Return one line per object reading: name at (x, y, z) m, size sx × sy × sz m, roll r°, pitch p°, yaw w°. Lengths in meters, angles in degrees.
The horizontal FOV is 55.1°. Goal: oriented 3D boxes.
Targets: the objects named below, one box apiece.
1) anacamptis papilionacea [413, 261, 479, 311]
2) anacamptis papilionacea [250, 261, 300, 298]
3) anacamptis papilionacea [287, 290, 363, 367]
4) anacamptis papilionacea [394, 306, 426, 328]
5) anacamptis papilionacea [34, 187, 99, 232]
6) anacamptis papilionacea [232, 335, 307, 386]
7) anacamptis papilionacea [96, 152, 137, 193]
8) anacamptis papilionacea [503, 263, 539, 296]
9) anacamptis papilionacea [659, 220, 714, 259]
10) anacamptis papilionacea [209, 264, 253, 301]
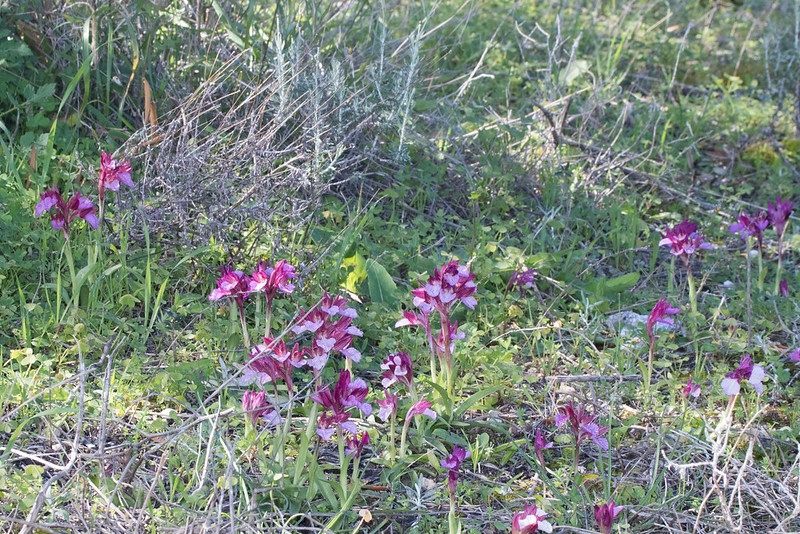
anacamptis papilionacea at (0.226, 0.100, 3.687) m, size 0.240 × 0.186 × 0.259 m, roll -5°, pitch 18°, yaw 8°
anacamptis papilionacea at (-0.599, 0.062, 3.763) m, size 0.189 × 0.151 × 0.197 m, roll 7°, pitch 9°, yaw 33°
anacamptis papilionacea at (-0.341, 0.341, 3.636) m, size 0.314 × 0.208 × 0.355 m, roll 14°, pitch 55°, yaw 5°
anacamptis papilionacea at (0.068, 0.257, 3.775) m, size 0.109 × 0.109 × 0.059 m, roll -9°, pitch 79°, yaw -44°
anacamptis papilionacea at (-1.776, -0.270, 4.027) m, size 0.271 × 0.270 × 0.220 m, roll 12°, pitch 68°, yaw -45°
anacamptis papilionacea at (-0.583, 0.411, 3.533) m, size 0.237 × 0.256 × 0.258 m, roll -6°, pitch 15°, yaw -5°
anacamptis papilionacea at (-1.508, -0.500, 4.088) m, size 0.182 × 0.164 × 0.207 m, roll 0°, pitch 10°, yaw -6°
anacamptis papilionacea at (0.731, 0.077, 4.535) m, size 0.155 × 0.156 × 0.163 m, roll -11°, pitch 20°, yaw -17°
anacamptis papilionacea at (1.596, -0.170, 4.267) m, size 0.253 × 0.197 × 0.281 m, roll 3°, pitch 4°, yaw -8°
anacamptis papilionacea at (-0.830, 0.075, 3.773) m, size 0.195 × 0.193 × 0.217 m, roll -6°, pitch 51°, yaw -4°
